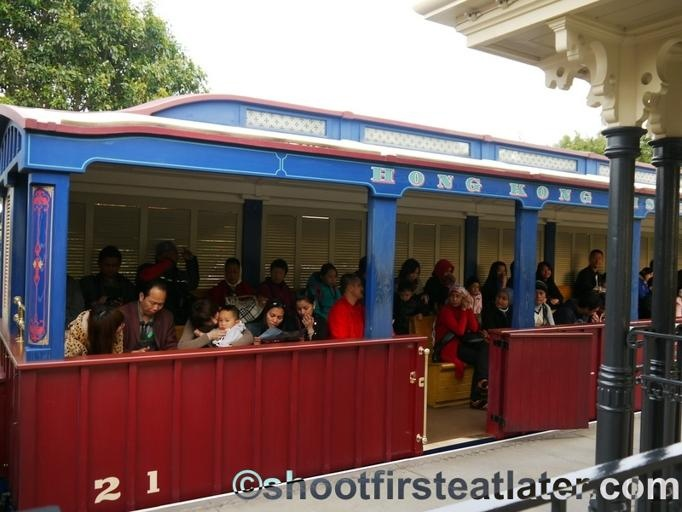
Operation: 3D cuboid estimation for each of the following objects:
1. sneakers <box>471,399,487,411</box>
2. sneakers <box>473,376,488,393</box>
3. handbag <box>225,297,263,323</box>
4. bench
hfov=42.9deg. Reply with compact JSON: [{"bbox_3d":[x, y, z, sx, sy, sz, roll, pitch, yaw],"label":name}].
[{"bbox_3d":[1.711,1.837,10.822,0.215,0.095,0.078,-10,-7,32],"label":"sneakers"},{"bbox_3d":[1.741,1.592,10.810,0.137,0.188,0.187,5,-1,-22],"label":"sneakers"},{"bbox_3d":[-1.142,0.618,10.536,0.308,0.172,0.406,1,3,31],"label":"handbag"},{"bbox_3d":[1.320,1.285,11.385,0.589,1.139,1.173,3,-2,27],"label":"bench"}]
